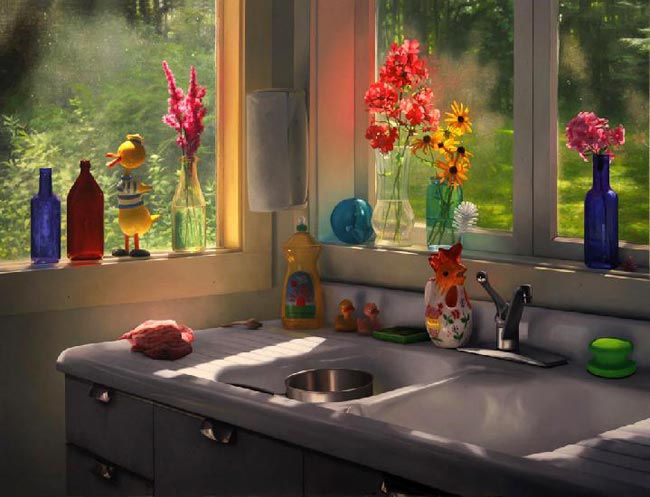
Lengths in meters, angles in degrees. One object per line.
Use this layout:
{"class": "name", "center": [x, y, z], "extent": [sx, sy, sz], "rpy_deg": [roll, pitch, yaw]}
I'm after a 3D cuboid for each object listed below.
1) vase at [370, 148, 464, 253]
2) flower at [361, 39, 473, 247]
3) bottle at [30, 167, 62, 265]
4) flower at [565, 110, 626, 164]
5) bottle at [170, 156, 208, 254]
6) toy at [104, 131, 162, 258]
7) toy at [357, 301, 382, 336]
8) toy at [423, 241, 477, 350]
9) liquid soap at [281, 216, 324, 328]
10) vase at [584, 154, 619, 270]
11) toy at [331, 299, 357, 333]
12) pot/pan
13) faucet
{"class": "vase", "center": [0.298, -0.152, 1.907], "extent": [0.314, 0.320, 0.135], "rpy_deg": [1, -3, 10]}
{"class": "flower", "center": [0.296, -0.363, 1.964], "extent": [0.356, 0.684, 0.335], "rpy_deg": [0, 6, 10]}
{"class": "bottle", "center": [-0.834, -0.096, 1.777], "extent": [0.084, 0.285, 0.057], "rpy_deg": [-5, 7, -34]}
{"class": "flower", "center": [0.721, -0.288, 1.598], "extent": [0.143, 0.110, 0.129], "rpy_deg": [0, 3, 21]}
{"class": "bottle", "center": [-0.460, -0.145, 2.004], "extent": [0.110, 0.320, 0.057], "rpy_deg": [-3, 6, -16]}
{"class": "toy", "center": [-0.623, -0.175, 1.934], "extent": [0.157, 0.396, 0.117], "rpy_deg": [-3, 6, -18]}
{"class": "toy", "center": [0.129, 0.225, 1.827], "extent": [0.064, 0.094, 0.090], "rpy_deg": [2, -7, -20]}
{"class": "toy", "center": [0.332, 0.128, 1.614], "extent": [0.122, 0.279, 0.061], "rpy_deg": [0, 6, 11]}
{"class": "liquid soap", "center": [-0.067, 0.087, 1.875], "extent": [0.148, 0.318, 0.095], "rpy_deg": [-4, 6, -23]}
{"class": "vase", "center": [0.702, -0.094, 1.514], "extent": [0.077, 0.288, 0.038], "rpy_deg": [1, 6, 22]}
{"class": "toy", "center": [0.053, 0.212, 1.880], "extent": [0.085, 0.125, 0.084], "rpy_deg": [3, -15, -13]}
{"class": "pot/pan", "center": [-0.013, 0.346, 1.515], "extent": [0.227, 0.091, 0.134], "rpy_deg": [-6, -6, 20]}
{"class": "faucet", "center": [0.478, 0.161, 1.492], "extent": [0.179, 0.212, 0.142], "rpy_deg": [-2, -3, 24]}
